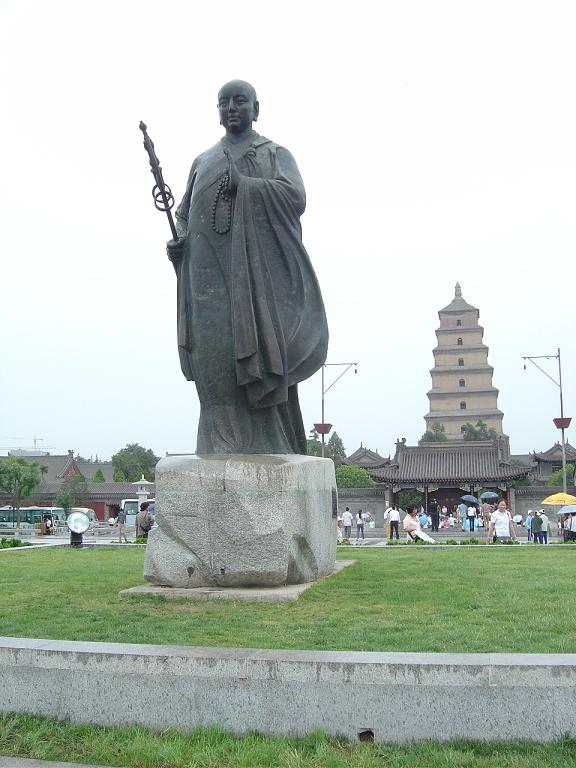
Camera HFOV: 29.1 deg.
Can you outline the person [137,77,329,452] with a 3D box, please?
[{"bbox_3d":[-0.358,-0.962,8.921,1.280,3.039,0.942,0,-8,1],"label":"person"}]
